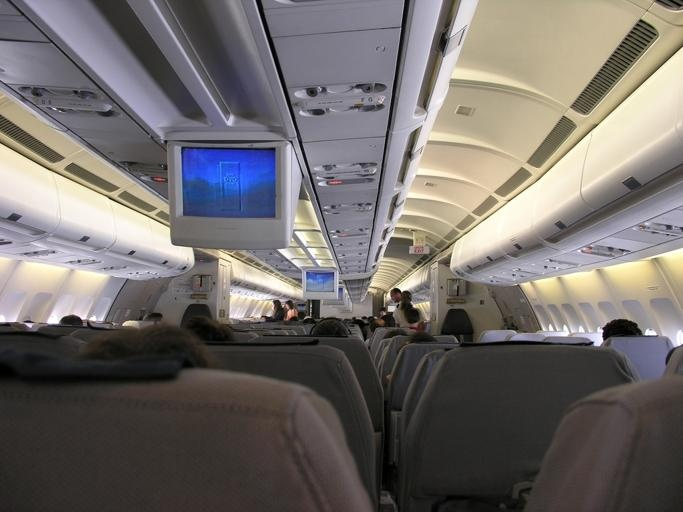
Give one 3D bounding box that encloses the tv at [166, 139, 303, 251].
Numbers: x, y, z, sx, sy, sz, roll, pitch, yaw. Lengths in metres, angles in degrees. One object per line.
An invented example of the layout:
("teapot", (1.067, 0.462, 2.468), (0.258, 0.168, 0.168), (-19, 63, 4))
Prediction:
("tv", (-1.206, -0.637, 5.251), (1.531, 1.044, 1.413), (0, -6, -1))
